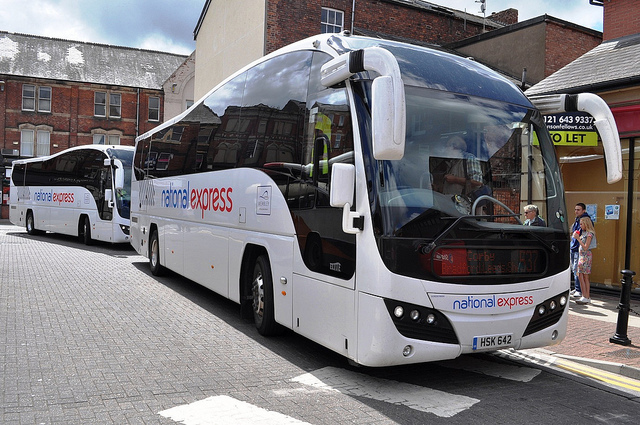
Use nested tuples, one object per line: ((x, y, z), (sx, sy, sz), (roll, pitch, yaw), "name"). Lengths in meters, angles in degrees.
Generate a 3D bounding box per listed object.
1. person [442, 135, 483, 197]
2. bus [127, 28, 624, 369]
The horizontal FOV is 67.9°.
((1.952, -0.622, 6.523), (0.433, 1.101, 0.620), (5, -11, -6), "person")
((-0.756, -0.294, 11.786), (4.379, 4.950, 12.586), (2, -1, -27), "bus")
